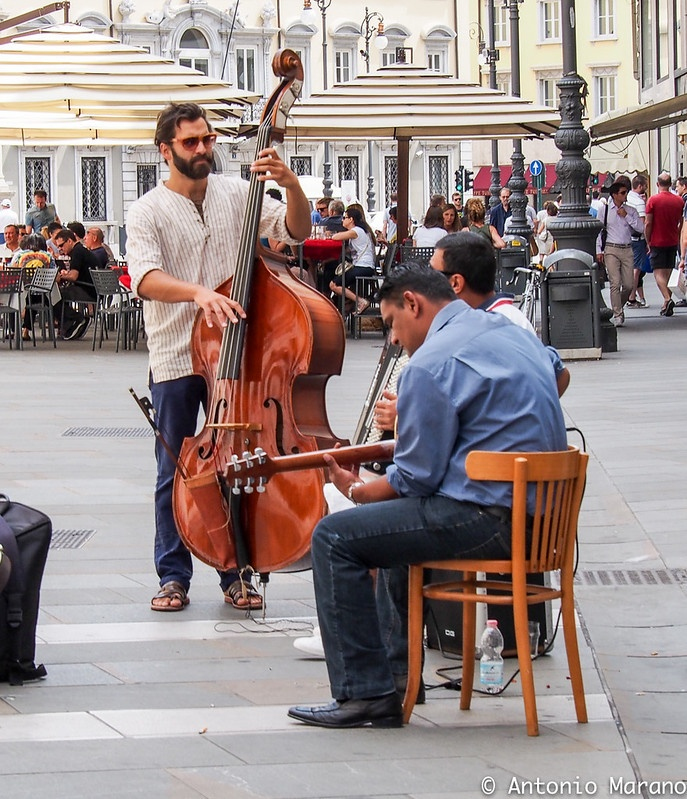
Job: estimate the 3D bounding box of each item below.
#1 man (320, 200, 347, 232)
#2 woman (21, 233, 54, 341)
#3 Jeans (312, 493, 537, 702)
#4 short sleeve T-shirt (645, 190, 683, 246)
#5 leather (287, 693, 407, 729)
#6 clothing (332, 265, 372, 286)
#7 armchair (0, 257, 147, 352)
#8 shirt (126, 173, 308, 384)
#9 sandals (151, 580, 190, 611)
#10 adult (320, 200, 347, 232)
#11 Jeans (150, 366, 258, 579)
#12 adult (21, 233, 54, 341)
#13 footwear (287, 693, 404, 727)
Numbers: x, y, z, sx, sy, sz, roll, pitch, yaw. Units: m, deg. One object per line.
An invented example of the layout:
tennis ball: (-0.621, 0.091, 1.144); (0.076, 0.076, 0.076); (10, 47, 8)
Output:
man: (-0.158, -2.759, 20.087); (0.297, 0.716, 0.446); (0, 6, 7)
woman: (-4.191, -1.579, 18.847); (0.436, 1.460, 2.066); (-2, 5, -13)
Jeans: (0.250, 0.535, 4.109); (0.617, 0.776, 0.566); (0, -2, 26)
short sleeve T-shirt: (4.724, -2.722, 20.188); (0.804, 0.829, 0.321); (-5, 6, -38)
leather: (0.016, 0.875, 3.918); (0.322, 0.143, 0.112); (1, -3, 2)
clothing: (0.099, -1.709, 18.275); (0.303, 0.146, 0.454); (2, -13, -13)
armchair: (-3.403, -1.371, 18.299); (1.674, 0.887, 1.420); (-3, 4, -39)
shirt: (-0.598, -0.564, 5.402); (0.488, 0.951, 0.317); (-4, -8, 27)
sandals: (-0.670, 0.776, 5.360); (0.101, 0.096, 0.282); (0, -3, -1)
adult: (-0.167, -2.737, 19.931); (0.297, 0.716, 0.446); (0, 6, 7)
Jeans: (-0.567, 0.302, 5.452); (0.119, 0.862, 0.321); (-6, 1, -41)
adult: (-4.186, -1.577, 18.829); (0.436, 1.460, 2.029); (-2, 5, -13)
footwear: (0.011, 0.872, 3.918); (0.321, 0.143, 0.112); (2, -3, 1)
